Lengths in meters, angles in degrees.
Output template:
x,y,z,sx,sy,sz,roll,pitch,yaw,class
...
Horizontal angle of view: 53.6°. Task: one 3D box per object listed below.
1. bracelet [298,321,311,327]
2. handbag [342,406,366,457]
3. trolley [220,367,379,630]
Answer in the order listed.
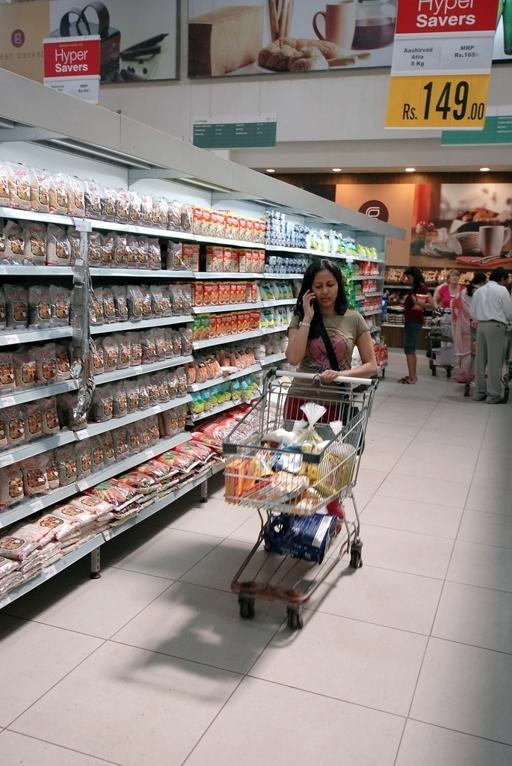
x,y,z,sx,sy,sz,roll,pitch,yaw,class
0.242,-0.292,2.513,0.052,0.023,0.076,2,1,4,bracelet
0.422,0.201,2.181,0.090,0.262,0.145,-2,4,10,handbag
0.156,0.409,2.141,0.495,0.918,0.872,3,2,21,trolley
